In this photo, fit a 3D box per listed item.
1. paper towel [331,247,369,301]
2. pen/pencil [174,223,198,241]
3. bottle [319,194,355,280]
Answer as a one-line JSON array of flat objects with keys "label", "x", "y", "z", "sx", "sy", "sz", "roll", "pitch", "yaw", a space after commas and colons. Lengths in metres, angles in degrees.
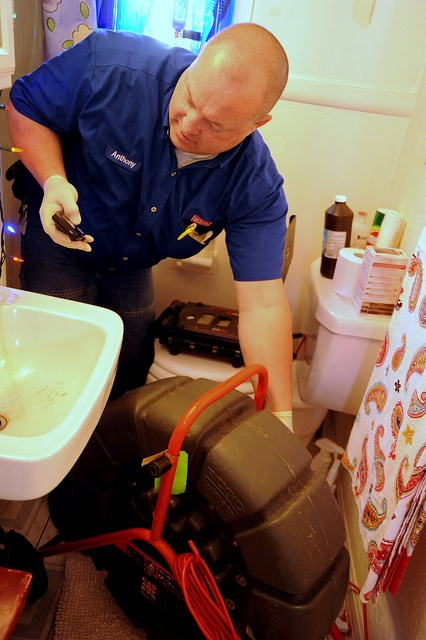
[{"label": "paper towel", "x": 0.374, "y": -0.138, "z": 1.388, "sx": 0.114, "sy": 0.135, "sz": 0.122, "roll": 17, "pitch": 33, "yaw": 2}, {"label": "pen/pencil", "x": -0.064, "y": -0.214, "z": 1.149, "sx": 0.018, "sy": 0.063, "sz": 0.020, "roll": -9, "pitch": 79, "yaw": -40}, {"label": "bottle", "x": 0.386, "y": -0.256, "z": 1.465, "sx": 0.087, "sy": 0.247, "sz": 0.092, "roll": -1, "pitch": 26, "yaw": 0}]
